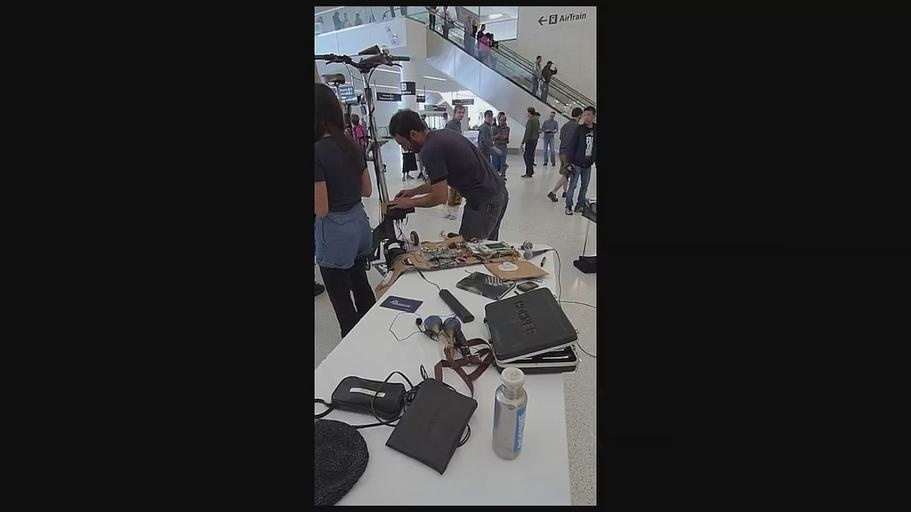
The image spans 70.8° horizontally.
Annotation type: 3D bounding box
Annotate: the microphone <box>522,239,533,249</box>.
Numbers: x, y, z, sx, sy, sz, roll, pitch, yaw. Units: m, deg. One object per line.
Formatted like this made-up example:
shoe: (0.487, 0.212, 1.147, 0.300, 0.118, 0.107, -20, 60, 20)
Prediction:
microphone: (0.322, -0.049, 2.922, 0.051, 0.040, 0.022, -1, -3, 29)

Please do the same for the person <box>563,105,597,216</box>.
person: (1.067, -0.798, 5.538, 0.253, 0.871, 0.563, -2, 5, 9)

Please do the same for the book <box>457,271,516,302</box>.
book: (0.113, 0.108, 2.425, 0.123, 0.016, 0.121, 19, 28, 22)

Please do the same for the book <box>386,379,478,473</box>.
book: (-0.056, 0.436, 1.680, 0.162, 0.178, 0.201, -1, 5, 28)

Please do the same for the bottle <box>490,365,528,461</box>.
bottle: (0.135, 0.387, 1.630, 0.087, 0.241, 0.157, -3, 4, 5)

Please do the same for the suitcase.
suitcase: (0.235, 0.247, 1.942, 0.257, 0.118, 0.285, -7, 35, 4)
